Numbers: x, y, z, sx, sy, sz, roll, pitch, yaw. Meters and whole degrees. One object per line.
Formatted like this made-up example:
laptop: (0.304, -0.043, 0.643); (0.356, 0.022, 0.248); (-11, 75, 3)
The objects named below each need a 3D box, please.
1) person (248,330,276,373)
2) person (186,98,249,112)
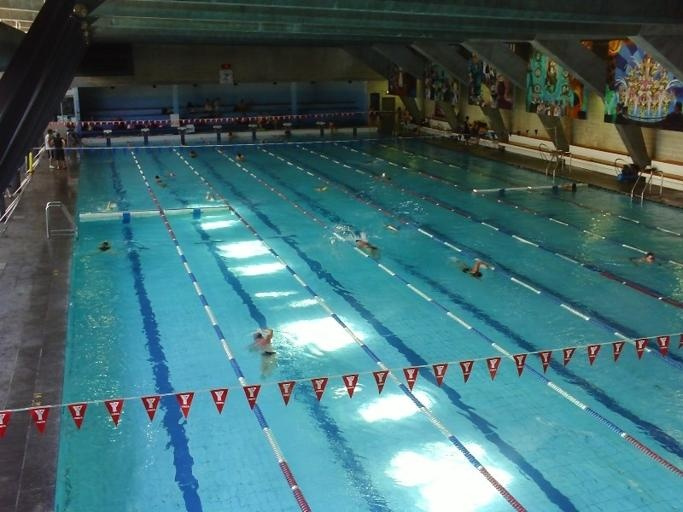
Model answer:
person: (-0.829, 1.057, 5.799); (0.259, 0.659, 0.183); (8, 20, -3)
person: (-5.695, -7.052, 23.844); (2.957, 0.605, 1.144); (-4, 17, -13)
